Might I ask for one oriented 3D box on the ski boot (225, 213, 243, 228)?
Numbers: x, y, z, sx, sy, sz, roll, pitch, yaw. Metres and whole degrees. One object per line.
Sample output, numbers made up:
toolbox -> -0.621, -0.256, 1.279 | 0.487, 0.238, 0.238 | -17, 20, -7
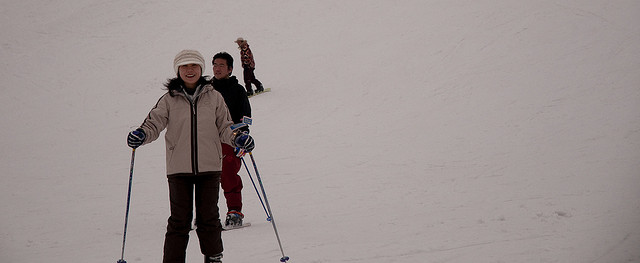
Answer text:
ski boot -> -1.468, 1.502, 12.196 | 0.332, 0.238, 0.202 | 1, 2, -4
